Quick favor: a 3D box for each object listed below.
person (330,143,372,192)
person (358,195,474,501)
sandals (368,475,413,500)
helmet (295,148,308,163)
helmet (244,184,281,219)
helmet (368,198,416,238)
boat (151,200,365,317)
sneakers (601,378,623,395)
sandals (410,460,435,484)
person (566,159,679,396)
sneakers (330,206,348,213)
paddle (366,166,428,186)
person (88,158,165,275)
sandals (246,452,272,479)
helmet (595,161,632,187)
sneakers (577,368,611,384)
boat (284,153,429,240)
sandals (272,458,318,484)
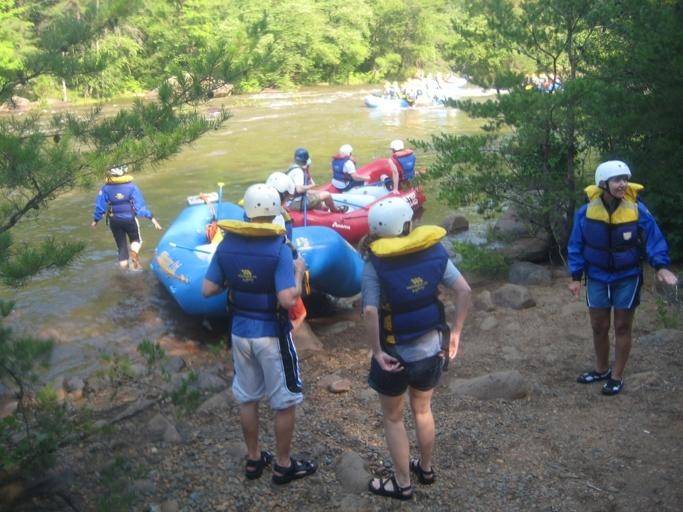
[{"bbox_3d":[0.257,-2.021,13.281,0.974,1.037,0.780,-27,47,-31],"label":"person"},{"bbox_3d":[0.566,0.823,5.295,0.741,2.507,1.057,14,29,44],"label":"person"},{"bbox_3d":[0.446,2.041,5.455,0.365,0.177,0.178,9,10,14],"label":"sandals"},{"bbox_3d":[-0.665,-1.714,10.188,0.188,0.227,0.578,-7,21,1],"label":"helmet"},{"bbox_3d":[-0.747,-0.564,5.672,0.250,0.295,0.354,-3,35,-12],"label":"helmet"},{"bbox_3d":[0.432,-0.312,5.211,0.372,0.322,0.284,0,27,-2],"label":"helmet"},{"bbox_3d":[-1.822,0.013,9.254,2.037,0.963,2.658,-8,19,-28],"label":"boat"},{"bbox_3d":[2.817,1.350,6.287,0.117,0.108,0.241,-3,1,40],"label":"sneakers"},{"bbox_3d":[0.734,1.963,5.554,0.105,0.132,0.299,-2,15,-3],"label":"sandals"},{"bbox_3d":[2.851,0.197,6.264,0.935,2.251,0.798,2,22,22],"label":"person"},{"bbox_3d":[-0.051,-0.898,11.810,0.301,0.112,0.145,-10,-21,-4],"label":"sneakers"},{"bbox_3d":[1.071,-1.872,13.469,0.685,0.501,1.243,-13,18,-40],"label":"paddle"},{"bbox_3d":[-3.843,-0.633,10.681,0.989,1.988,1.226,-18,23,-28],"label":"person"},{"bbox_3d":[-0.766,1.957,5.738,0.120,0.166,0.345,1,9,17],"label":"sandals"},{"bbox_3d":[2.766,-0.850,6.219,0.233,0.272,0.323,-5,24,-11],"label":"helmet"},{"bbox_3d":[2.700,1.290,6.475,0.345,0.153,0.143,0,-10,2],"label":"sneakers"},{"bbox_3d":[0.460,-1.097,12.175,1.748,0.971,2.543,2,21,39],"label":"boat"},{"bbox_3d":[-0.429,1.955,5.661,0.412,0.194,0.180,-9,9,-26],"label":"sandals"}]
